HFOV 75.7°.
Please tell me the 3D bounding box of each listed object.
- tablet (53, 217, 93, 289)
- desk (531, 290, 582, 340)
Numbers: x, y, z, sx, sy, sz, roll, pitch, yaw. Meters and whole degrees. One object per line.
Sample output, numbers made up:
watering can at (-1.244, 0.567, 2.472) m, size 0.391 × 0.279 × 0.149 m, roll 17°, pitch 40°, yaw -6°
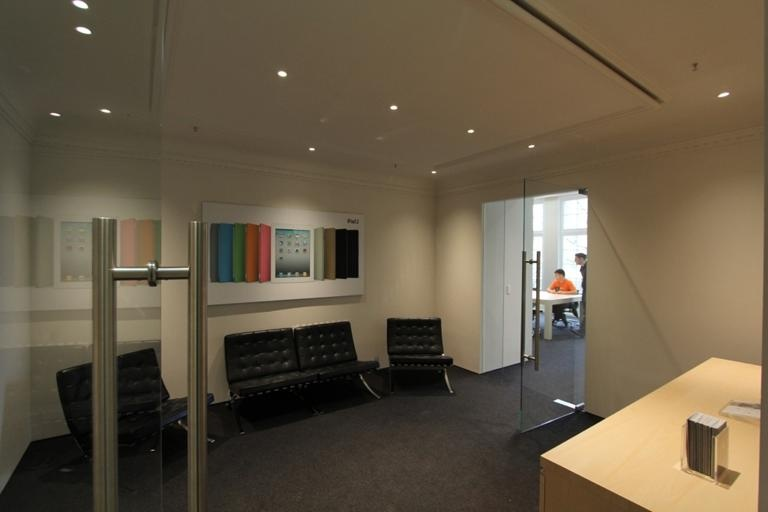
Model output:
tablet at (-0.849, -0.007, 1.351) m, size 0.017 × 0.188 × 0.102 m, roll 0°, pitch 1°, yaw 23°
desk at (1.329, 0.454, 3.839) m, size 0.360 × 0.273 × 0.352 m, roll -5°, pitch 5°, yaw -37°
